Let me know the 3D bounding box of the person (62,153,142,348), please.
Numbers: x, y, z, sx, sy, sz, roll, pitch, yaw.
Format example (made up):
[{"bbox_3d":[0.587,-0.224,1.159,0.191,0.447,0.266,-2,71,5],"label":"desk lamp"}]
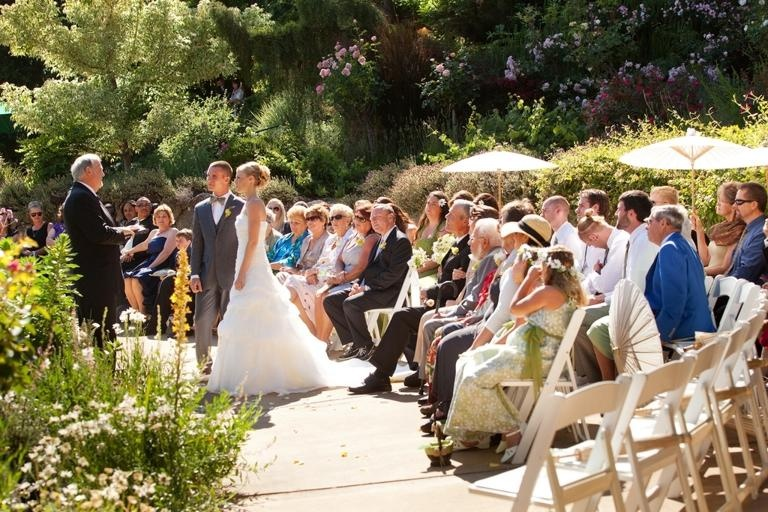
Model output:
[{"bbox_3d":[-3.411,-0.114,9.654,0.646,2.035,0.647,-13,17,-38],"label":"person"}]

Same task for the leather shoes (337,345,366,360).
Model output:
[{"bbox_3d":[-0.436,1.342,11.535,0.401,0.191,0.181,-14,0,27],"label":"leather shoes"}]

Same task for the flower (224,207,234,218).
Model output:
[{"bbox_3d":[-1.962,-0.536,10.336,0.109,0.124,0.031,22,-4,-21],"label":"flower"}]

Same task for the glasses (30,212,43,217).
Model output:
[{"bbox_3d":[-6.997,-0.826,16.479,0.187,0.100,0.153,-14,18,-37],"label":"glasses"}]

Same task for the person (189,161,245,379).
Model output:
[{"bbox_3d":[-2.235,0.252,10.544,0.563,2.759,0.709,18,19,31],"label":"person"}]

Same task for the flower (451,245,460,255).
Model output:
[{"bbox_3d":[0.915,-0.070,10.552,0.060,0.075,0.096,14,18,-38],"label":"flower"}]

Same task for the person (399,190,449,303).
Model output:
[{"bbox_3d":[0.600,-0.226,12.037,0.705,1.360,1.080,8,16,32],"label":"person"}]

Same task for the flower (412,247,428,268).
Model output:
[{"bbox_3d":[0.486,0.027,10.891,0.201,0.224,0.220,1,-9,1],"label":"flower"}]

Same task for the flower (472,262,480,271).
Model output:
[{"bbox_3d":[1.067,0.131,9.487,0.026,0.080,0.067,12,-9,-1],"label":"flower"}]

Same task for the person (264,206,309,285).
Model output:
[{"bbox_3d":[-1.496,-0.233,12.787,0.706,1.131,0.880,12,5,40],"label":"person"}]

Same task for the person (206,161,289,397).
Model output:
[{"bbox_3d":[-1.637,0.300,9.896,0.757,2.695,1.038,9,18,41],"label":"person"}]

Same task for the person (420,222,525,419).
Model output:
[{"bbox_3d":[1.029,0.616,8.731,1.186,2.384,0.777,6,21,2],"label":"person"}]

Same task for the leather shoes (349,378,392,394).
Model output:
[{"bbox_3d":[-0.175,1.567,9.928,0.535,0.244,0.197,2,-5,-7],"label":"leather shoes"}]

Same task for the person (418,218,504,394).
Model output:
[{"bbox_3d":[0.880,0.591,9.508,0.984,2.076,0.680,1,23,-19],"label":"person"}]

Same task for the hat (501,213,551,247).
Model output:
[{"bbox_3d":[1.553,-0.238,8.846,0.418,0.190,0.367,32,7,-6],"label":"hat"}]

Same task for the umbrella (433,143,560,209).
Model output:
[{"bbox_3d":[1.587,-1.305,12.111,1.350,0.971,1.310,-1,1,-6],"label":"umbrella"}]

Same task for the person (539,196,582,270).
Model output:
[{"bbox_3d":[2.203,-0.132,10.262,0.510,1.149,0.652,6,-15,-7],"label":"person"}]

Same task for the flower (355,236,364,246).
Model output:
[{"bbox_3d":[-0.346,-0.206,11.645,0.105,0.035,0.115,-19,26,48],"label":"flower"}]
